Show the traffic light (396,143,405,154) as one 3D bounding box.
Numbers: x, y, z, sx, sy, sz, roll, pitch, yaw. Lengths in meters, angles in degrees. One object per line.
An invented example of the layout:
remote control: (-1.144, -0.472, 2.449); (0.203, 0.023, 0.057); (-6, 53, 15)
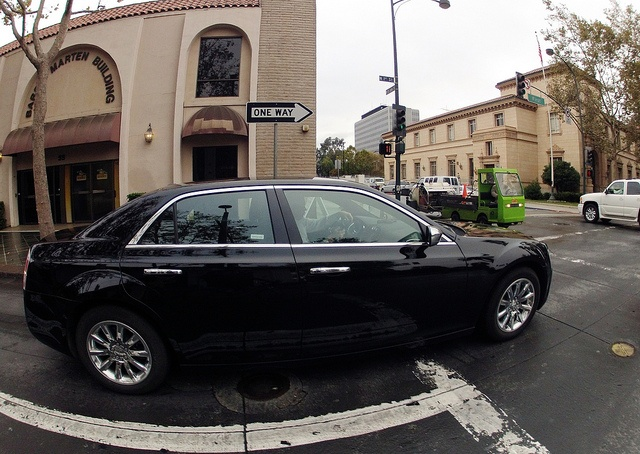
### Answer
traffic light: (3.054, -3.094, 16.386); (0.325, 0.408, 0.502); (-2, 4, 6)

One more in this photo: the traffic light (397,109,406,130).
traffic light: (3.149, -4.299, 16.910); (0.393, 0.889, 0.313); (0, 5, 32)

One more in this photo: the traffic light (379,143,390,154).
traffic light: (2.509, -3.110, 16.645); (0.458, 0.453, 0.243); (0, 12, 1)

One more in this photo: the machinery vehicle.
machinery vehicle: (6.064, -1.115, 16.008); (1.705, 2.100, 2.768); (-5, 8, -33)

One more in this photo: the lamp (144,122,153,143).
lamp: (-6.020, -3.276, 14.765); (0.395, 0.716, 0.205); (-1, 4, 22)

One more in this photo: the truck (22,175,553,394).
truck: (-0.210, 0.436, 5.510); (5.583, 1.884, 2.335); (-5, 2, -5)
